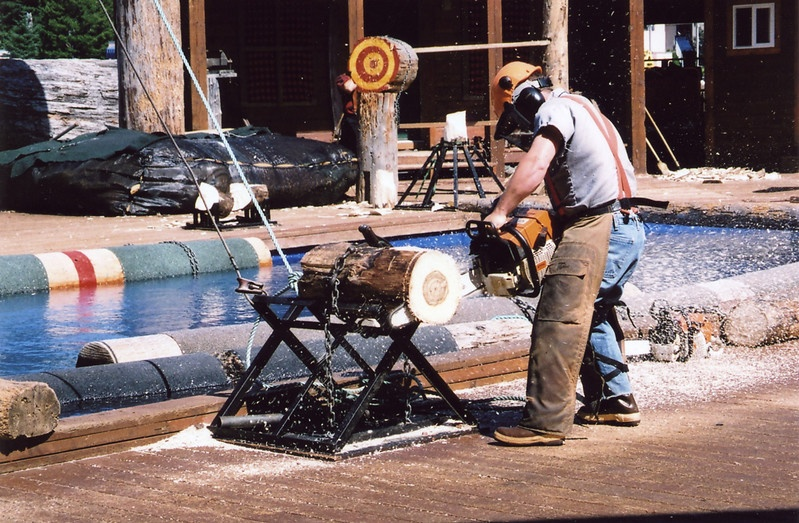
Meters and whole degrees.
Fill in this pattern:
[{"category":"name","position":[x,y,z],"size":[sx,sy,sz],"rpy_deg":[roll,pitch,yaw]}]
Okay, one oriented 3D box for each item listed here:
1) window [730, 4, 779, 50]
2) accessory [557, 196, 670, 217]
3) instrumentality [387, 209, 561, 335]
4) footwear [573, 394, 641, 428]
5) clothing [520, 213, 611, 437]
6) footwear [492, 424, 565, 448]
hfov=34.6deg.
[{"category":"window","position":[6.461,-4.259,23.138],"size":[0.825,0.882,0.075],"rpy_deg":[2,3,34]},{"category":"accessory","position":[1.771,-0.459,10.833],"size":[0.370,0.109,0.469],"rpy_deg":[-15,8,-22]},{"category":"instrumentality","position":[0.719,-0.003,10.623],"size":[1.794,0.729,0.582],"rpy_deg":[-25,27,-36]},{"category":"footwear","position":[1.763,1.273,10.888],"size":[0.569,0.336,0.207],"rpy_deg":[3,0,17]},{"category":"clothing","position":[1.356,0.527,10.501],"size":[0.442,1.739,0.801],"rpy_deg":[5,13,37]},{"category":"footwear","position":[1.057,1.390,10.441],"size":[0.539,0.240,0.212],"rpy_deg":[4,-2,-2]}]
